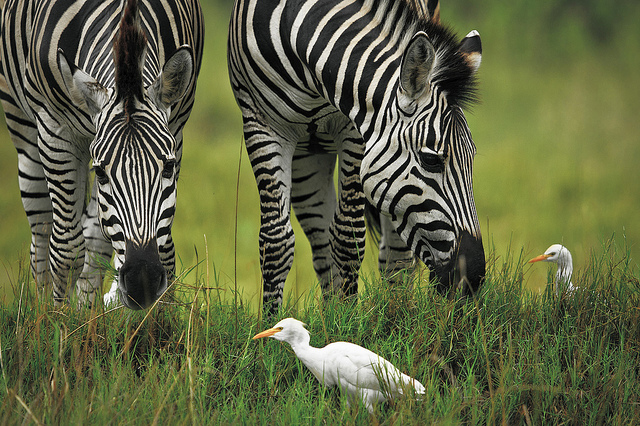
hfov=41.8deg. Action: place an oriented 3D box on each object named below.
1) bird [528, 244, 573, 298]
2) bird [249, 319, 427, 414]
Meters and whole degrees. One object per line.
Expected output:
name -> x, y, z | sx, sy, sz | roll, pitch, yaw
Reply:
bird -> 1.481, 0.349, 5.290 | 0.292, 0.354, 0.275 | -4, -12, 42
bird -> 0.134, 0.922, 4.541 | 0.987, 0.766, 0.296 | 4, -32, -16
